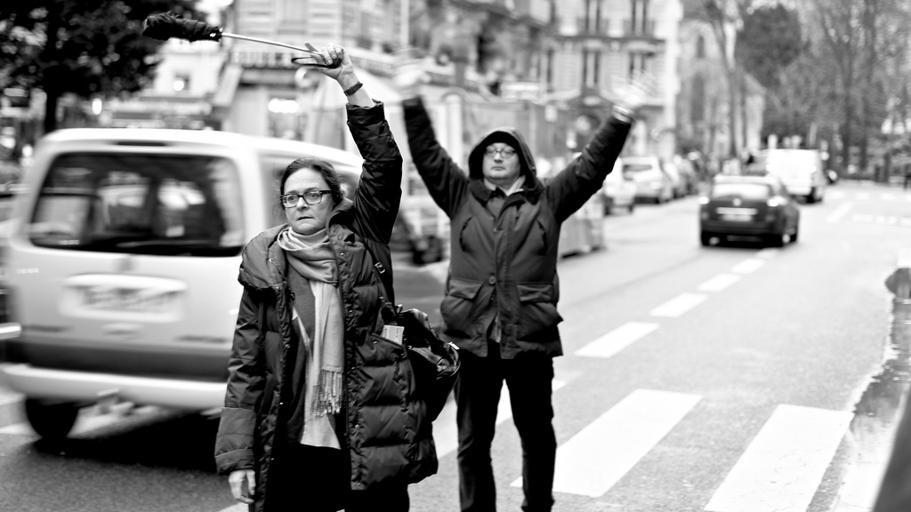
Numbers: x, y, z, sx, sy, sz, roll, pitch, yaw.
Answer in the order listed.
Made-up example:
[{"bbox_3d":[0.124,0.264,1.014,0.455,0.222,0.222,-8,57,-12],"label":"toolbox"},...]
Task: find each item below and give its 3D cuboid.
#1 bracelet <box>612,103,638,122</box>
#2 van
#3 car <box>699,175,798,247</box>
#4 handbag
[{"bbox_3d":[1.288,-1.085,7.503,0.151,0.086,0.149,10,2,-34],"label":"bracelet"},{"bbox_3d":[-2.501,-0.103,10.106,2.065,1.922,3.560,0,6,12],"label":"van"},{"bbox_3d":[6.037,-0.683,20.847,1.807,1.305,3.112,2,12,21],"label":"car"},{"bbox_3d":[-0.185,0.750,6.666,0.267,0.669,0.613,7,-5,-28],"label":"handbag"}]
